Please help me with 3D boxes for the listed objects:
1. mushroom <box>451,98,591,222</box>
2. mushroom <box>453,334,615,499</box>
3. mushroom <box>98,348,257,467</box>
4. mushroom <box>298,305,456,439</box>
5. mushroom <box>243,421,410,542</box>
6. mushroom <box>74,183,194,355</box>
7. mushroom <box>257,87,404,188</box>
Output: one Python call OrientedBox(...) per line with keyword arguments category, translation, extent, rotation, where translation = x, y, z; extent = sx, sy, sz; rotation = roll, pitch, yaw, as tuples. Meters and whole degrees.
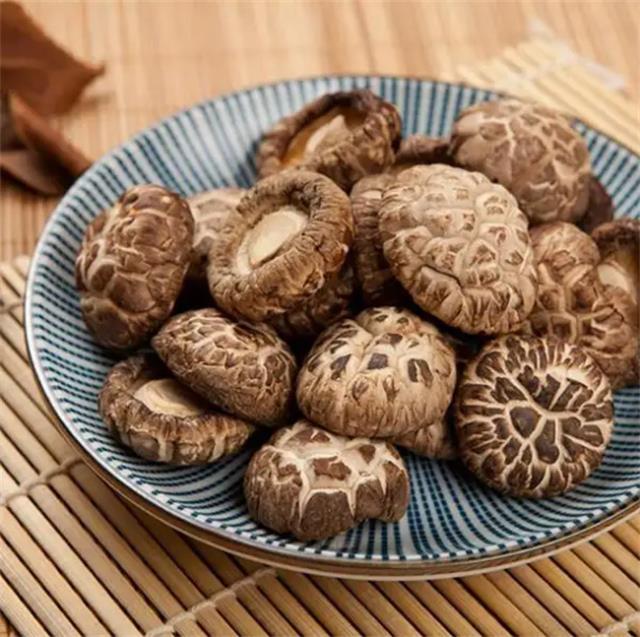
OrientedBox(category="mushroom", translation=(0.681, -0.524, 2.616), extent=(0.438, 0.158, 0.456), rotation=(44, 39, 11))
OrientedBox(category="mushroom", translation=(0.627, 0.282, 2.397), extent=(0.466, 0.162, 0.482), rotation=(21, 62, 14))
OrientedBox(category="mushroom", translation=(-0.478, 0.284, 2.419), extent=(0.459, 0.258, 0.289), rotation=(36, 69, 20))
OrientedBox(category="mushroom", translation=(0.172, 0.148, 2.368), extent=(0.444, 0.198, 0.433), rotation=(10, 61, 7))
OrientedBox(category="mushroom", translation=(0.015, 0.458, 2.254), extent=(0.453, 0.184, 0.346), rotation=(18, 62, 12))
OrientedBox(category="mushroom", translation=(-0.567, -0.168, 2.486), extent=(0.182, 0.471, 0.467), rotation=(27, 88, -28))
OrientedBox(category="mushroom", translation=(0.097, -0.574, 2.918), extent=(0.468, 0.477, 0.196), rotation=(-36, 107, -17))
